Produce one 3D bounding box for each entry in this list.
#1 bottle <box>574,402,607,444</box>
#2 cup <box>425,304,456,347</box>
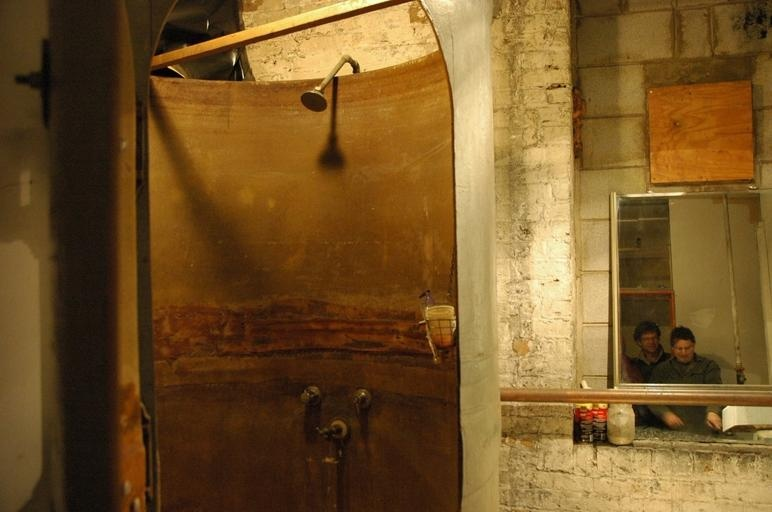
[{"bbox_3d":[1.118,0.908,4.213,0.180,0.214,0.089,-1,-4,12],"label":"bottle"},{"bbox_3d":[0.267,0.343,3.807,0.201,0.206,0.199,-2,-7,0],"label":"cup"}]
